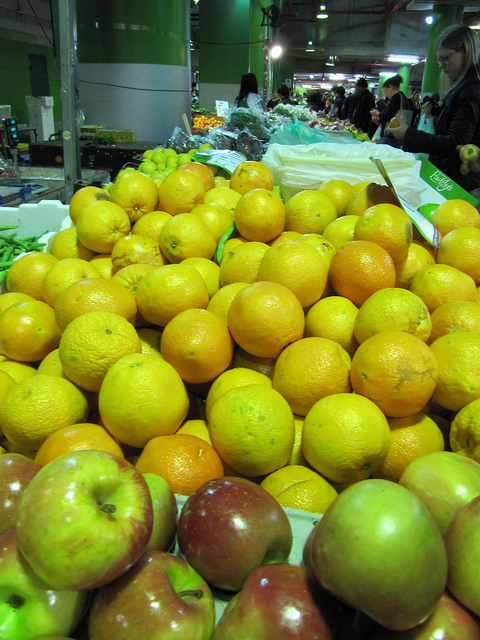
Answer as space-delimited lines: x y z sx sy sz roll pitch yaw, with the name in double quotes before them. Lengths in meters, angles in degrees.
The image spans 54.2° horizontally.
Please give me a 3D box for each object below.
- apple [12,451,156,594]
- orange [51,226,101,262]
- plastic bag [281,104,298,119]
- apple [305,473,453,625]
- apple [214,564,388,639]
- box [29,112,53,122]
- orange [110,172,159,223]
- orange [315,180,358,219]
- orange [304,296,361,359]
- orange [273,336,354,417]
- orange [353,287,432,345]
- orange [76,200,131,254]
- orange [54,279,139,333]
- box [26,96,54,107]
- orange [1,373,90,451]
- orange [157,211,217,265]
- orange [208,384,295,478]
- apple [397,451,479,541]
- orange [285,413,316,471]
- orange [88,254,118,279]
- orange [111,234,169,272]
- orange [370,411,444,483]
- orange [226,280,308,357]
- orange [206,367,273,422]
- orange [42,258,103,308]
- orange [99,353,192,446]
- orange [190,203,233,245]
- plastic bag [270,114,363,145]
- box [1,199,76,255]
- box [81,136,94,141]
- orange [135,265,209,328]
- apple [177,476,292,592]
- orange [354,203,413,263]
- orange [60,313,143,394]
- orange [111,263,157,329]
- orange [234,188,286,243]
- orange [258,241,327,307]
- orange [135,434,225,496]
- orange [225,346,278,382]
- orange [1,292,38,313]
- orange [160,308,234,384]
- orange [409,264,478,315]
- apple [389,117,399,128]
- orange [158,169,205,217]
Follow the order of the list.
"apple" -0.213 0.247 0.638 0.179 0.169 0.174 -16 -16 24
"orange" -0.533 -0.244 1.533 0.129 0.104 0.104 -3 33 26
"plastic bag" 0.564 -2.454 5.487 0.246 0.126 0.310 0 46 3
"apple" 0.166 0.288 0.571 0.152 0.143 0.127 17 29 28
"apple" 0.063 0.311 0.570 0.145 0.112 0.110 0 -31 -6
"box" -3.661 -3.727 8.627 0.322 0.172 0.271 -11 28 -27
"orange" -0.388 -0.449 1.626 0.114 0.123 0.108 36 20 4
"orange" 0.358 -0.462 1.794 0.156 0.169 0.150 1 -22 -1
"orange" 0.222 0.007 1.208 0.150 0.162 0.139 9 -17 6
"orange" 0.146 0.115 1.051 0.148 0.164 0.149 1 -6 18
"orange" 0.343 -0.013 1.103 0.159 0.132 0.131 -15 42 2
"orange" -0.435 -0.291 1.509 0.145 0.150 0.136 2 -11 -21
"orange" -0.367 -0.019 1.201 0.208 0.185 0.191 -1 -1 -24
"box" -3.582 -3.898 8.383 0.421 0.159 0.402 -8 26 -22
"orange" -0.406 0.196 1.040 0.174 0.156 0.155 4 -15 27
"orange" -0.160 -0.245 1.422 0.147 0.159 0.142 -20 4 -3
"orange" 0.034 0.202 0.917 0.133 0.143 0.130 0 8 1
"apple" 0.304 0.275 0.773 0.127 0.117 0.114 4 -8 10
"orange" 0.120 0.270 1.040 0.088 0.097 0.085 -4 5 -34
"orange" -0.428 -0.173 1.487 0.096 0.106 0.091 4 11 -5
"orange" -0.314 -0.198 1.463 0.151 0.125 0.120 16 42 -28
"orange" 0.335 0.250 1.012 0.138 0.154 0.135 13 -26 30
"orange" 0.048 -0.005 1.093 0.162 0.169 0.153 4 -18 -16
"orange" -0.011 0.148 1.066 0.131 0.140 0.120 4 10 -1
"orange" -0.481 -0.108 1.353 0.186 0.146 0.153 -2 -16 -20
"orange" -0.195 0.146 0.970 0.163 0.180 0.167 19 24 39
"orange" -0.074 -0.321 1.588 0.146 0.156 0.136 2 1 3
"plastic bag" 0.453 -1.142 2.882 0.364 0.128 0.557 -10 27 -27
"box" -0.931 -0.420 2.152 0.409 0.264 0.261 0 8 1
"box" -1.744 -2.067 5.335 0.126 0.038 0.372 -5 25 -17
"orange" -0.171 -0.067 1.229 0.171 0.161 0.157 23 35 22
"apple" -0.013 0.288 0.679 0.141 0.141 0.143 19 -24 -3
"orange" 0.398 -0.233 1.295 0.137 0.147 0.128 -5 3 2
"orange" -0.319 0.076 1.095 0.176 0.177 0.179 -21 -19 39
"orange" -0.337 -0.074 1.355 0.169 0.183 0.163 4 5 7
"orange" 0.064 -0.326 1.477 0.148 0.155 0.208 18 29 30
"orange" 0.136 -0.115 1.199 0.149 0.163 0.143 -11 3 12
"orange" -0.106 0.258 0.899 0.118 0.106 0.116 23 3 -35
"orange" 0.026 0.109 1.153 0.093 0.087 0.106 2 -5 -8
"orange" -0.663 -0.064 1.430 0.097 0.075 0.079 0 7 7
"orange" -0.104 0.064 1.110 0.176 0.186 0.170 -14 -10 19
"orange" 0.512 -0.082 1.252 0.144 0.136 0.146 -6 2 -13
"apple" 0.907 -1.177 2.813 0.050 0.051 0.065 -26 15 4
"orange" -0.229 -0.453 1.680 0.156 0.163 0.145 -1 -6 -35
